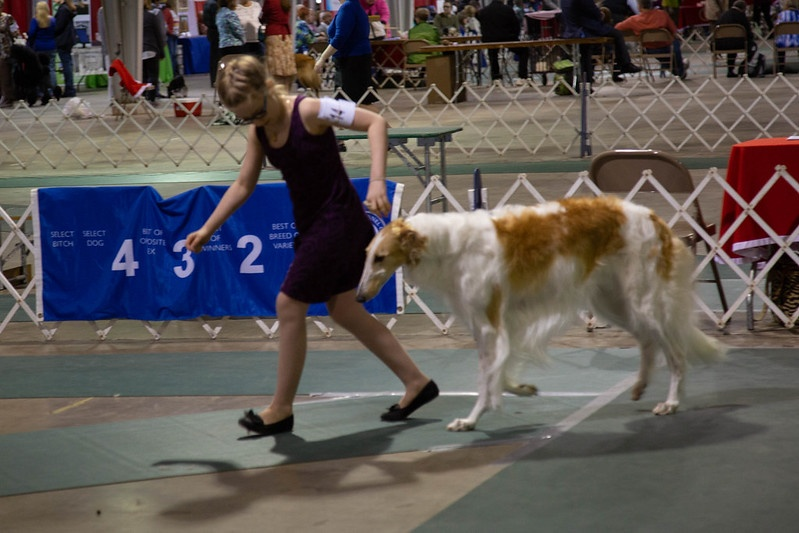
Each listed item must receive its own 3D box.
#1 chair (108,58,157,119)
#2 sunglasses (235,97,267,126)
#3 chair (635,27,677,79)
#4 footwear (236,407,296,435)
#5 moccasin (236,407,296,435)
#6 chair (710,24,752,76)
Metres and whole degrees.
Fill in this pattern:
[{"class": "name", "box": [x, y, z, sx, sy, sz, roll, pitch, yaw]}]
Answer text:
[{"class": "chair", "box": [-5.864, -4.124, 18.478, 0.981, 0.988, 0.711, 4, 20, -3]}, {"class": "sunglasses", "box": [-0.813, -0.888, 4.695, 0.074, 0.139, 0.172, -8, 11, -40]}, {"class": "chair", "box": [6.473, -5.603, 21.221, 0.862, 1.448, 1.025, 6, 44, 27]}, {"class": "footwear", "box": [-0.806, 0.952, 5.062, 0.305, 0.121, 0.150, 18, -4, -28]}, {"class": "moccasin", "box": [-0.795, 0.952, 5.009, 0.305, 0.121, 0.150, 18, -4, -28]}, {"class": "chair", "box": [8.180, -5.499, 20.807, 0.844, 1.462, 0.964, 1, 31, 23]}]
